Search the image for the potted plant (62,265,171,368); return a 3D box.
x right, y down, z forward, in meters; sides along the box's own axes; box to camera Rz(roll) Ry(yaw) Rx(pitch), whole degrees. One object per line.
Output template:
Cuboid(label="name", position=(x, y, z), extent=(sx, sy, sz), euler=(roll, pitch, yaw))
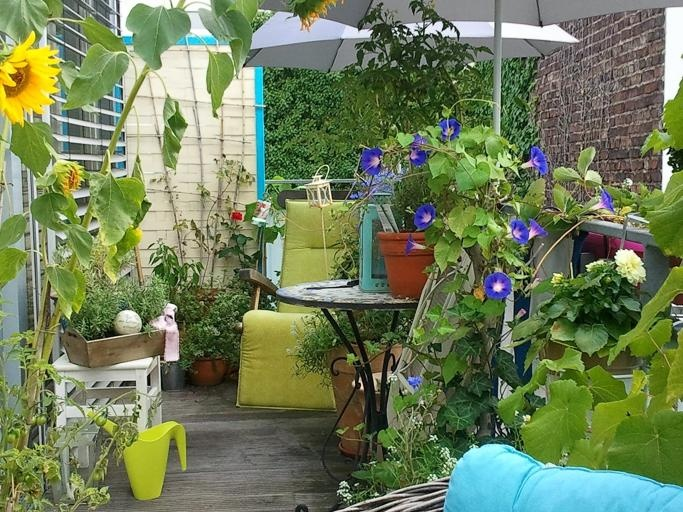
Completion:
Cuboid(label="potted plant", position=(-1.124, 0.314, 2.907), extent=(0.506, 0.345, 0.496), euler=(-4, 6, -36))

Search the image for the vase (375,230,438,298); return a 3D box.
Cuboid(label="vase", position=(0.219, 0.016, 2.077), extent=(0.202, 0.223, 0.214), euler=(-1, 4, -4))

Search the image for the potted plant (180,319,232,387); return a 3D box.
Cuboid(label="potted plant", position=(-0.963, 0.727, 4.465), extent=(0.483, 0.552, 0.432), euler=(-13, -16, 40))

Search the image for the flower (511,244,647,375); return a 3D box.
Cuboid(label="flower", position=(0.533, 0.099, 1.359), extent=(0.265, 0.218, 0.267), euler=(-17, 20, -11))

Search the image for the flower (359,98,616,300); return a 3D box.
Cuboid(label="flower", position=(0.356, -0.153, 1.699), extent=(0.453, 0.370, 0.551), euler=(1, 9, -20))

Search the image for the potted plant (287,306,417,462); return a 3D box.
Cuboid(label="potted plant", position=(0.119, 0.467, 2.315), extent=(0.415, 0.530, 0.429), euler=(1, -5, -35))

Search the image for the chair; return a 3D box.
Cuboid(label="chair", position=(-0.257, 0.278, 3.884), extent=(0.841, 1.341, 0.955), euler=(1, 0, 30))
